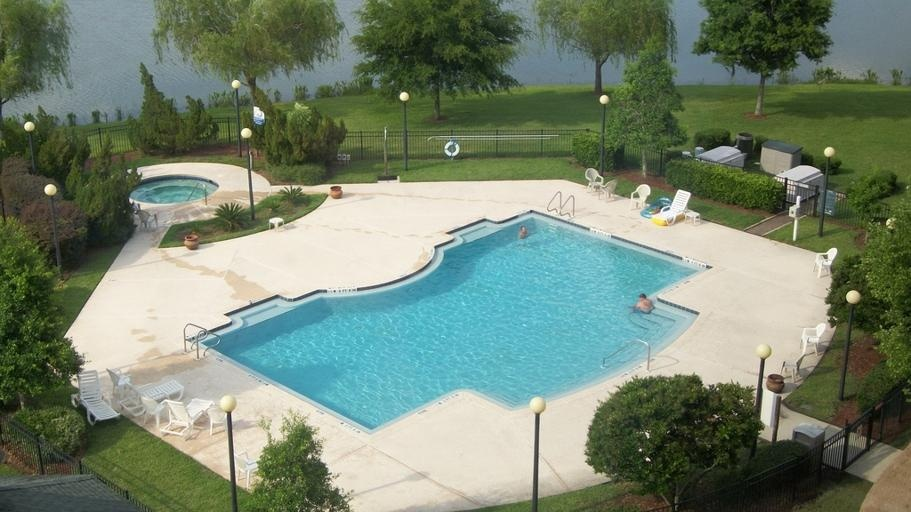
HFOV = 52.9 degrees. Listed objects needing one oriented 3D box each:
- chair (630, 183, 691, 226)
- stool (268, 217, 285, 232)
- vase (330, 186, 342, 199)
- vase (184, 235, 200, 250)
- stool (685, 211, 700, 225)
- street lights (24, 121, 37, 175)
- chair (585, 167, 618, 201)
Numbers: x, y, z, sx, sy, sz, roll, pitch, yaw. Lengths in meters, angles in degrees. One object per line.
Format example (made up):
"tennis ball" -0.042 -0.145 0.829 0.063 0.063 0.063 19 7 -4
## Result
"chair" 13.188 -3.071 56.735 2.942 1.724 2.116 -3 23 -2
"stool" -10.876 -2.017 56.226 0.790 0.581 0.780 -27 41 -35
"vase" -7.642 -4.125 59.208 0.741 0.501 0.757 18 26 40
"vase" -15.589 -0.921 54.115 0.824 0.644 0.842 13 30 22
"stool" 14.663 -2.373 56.504 0.825 0.795 0.839 21 39 34
"street lights" -26.549 -6.660 57.231 0.717 4.026 0.726 -20 63 -30
"chair" 9.533 -4.834 59.932 1.389 1.599 2.746 -13 25 -24
